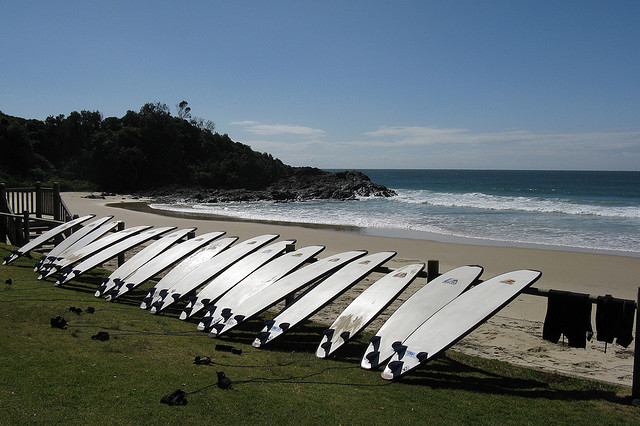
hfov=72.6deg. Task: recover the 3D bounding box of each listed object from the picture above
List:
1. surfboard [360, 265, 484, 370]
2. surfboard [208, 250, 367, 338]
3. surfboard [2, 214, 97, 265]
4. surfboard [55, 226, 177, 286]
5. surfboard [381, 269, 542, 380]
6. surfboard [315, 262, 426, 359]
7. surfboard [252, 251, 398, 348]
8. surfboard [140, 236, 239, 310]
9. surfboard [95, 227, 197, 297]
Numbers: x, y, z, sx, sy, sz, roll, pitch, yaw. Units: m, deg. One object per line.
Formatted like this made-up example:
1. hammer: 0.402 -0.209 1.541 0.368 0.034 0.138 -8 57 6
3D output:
1. surfboard: 1.587 1.530 6.729 0.593 0.383 2.893 37 48 25
2. surfboard: -0.647 1.443 7.722 2.774 0.251 0.513 -24 22 -25
3. surfboard: -7.143 0.622 11.632 0.582 0.383 3.283 -13 5 39
4. surfboard: -4.351 0.887 10.331 0.729 0.357 3.643 1 17 34
5. surfboard: 2.028 1.487 6.263 2.847 0.249 0.825 -29 16 -13
6. surfboard: 0.771 1.599 7.070 2.070 0.325 0.472 -32 32 -27
7. surfboard: 0.005 1.489 7.513 0.571 0.355 2.777 -12 13 47
8. surfboard: -2.637 1.180 9.272 0.262 0.702 3.015 -45 6 31
9. surfboard: -3.879 1.003 9.833 0.678 0.329 3.189 -11 12 27
